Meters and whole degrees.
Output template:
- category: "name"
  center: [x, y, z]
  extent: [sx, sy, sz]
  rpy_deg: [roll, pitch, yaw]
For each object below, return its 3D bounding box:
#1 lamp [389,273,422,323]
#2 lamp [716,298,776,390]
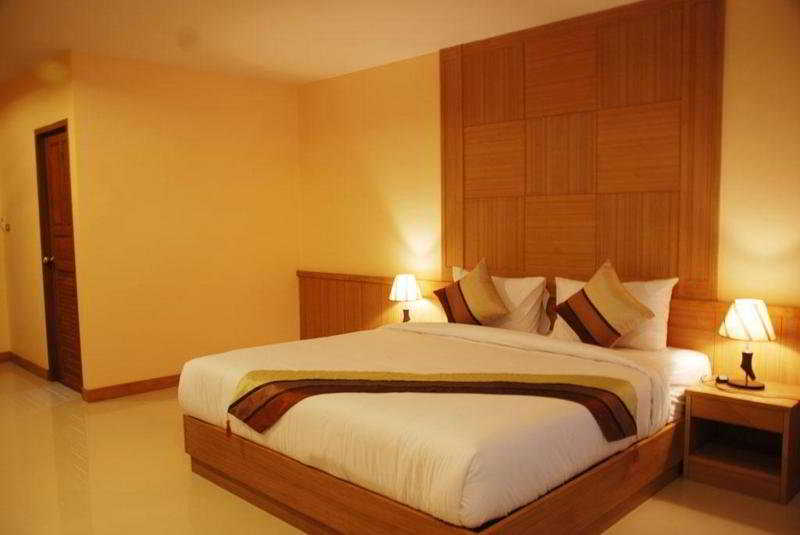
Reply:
- category: "lamp"
  center: [0.071, 0.331, 6.094]
  extent: [0.331, 0.515, 0.568]
  rpy_deg: [0, 11, 1]
- category: "lamp"
  center: [2.642, 0.591, 4.363]
  extent: [0.473, 0.629, 0.480]
  rpy_deg: [0, -2, 32]
